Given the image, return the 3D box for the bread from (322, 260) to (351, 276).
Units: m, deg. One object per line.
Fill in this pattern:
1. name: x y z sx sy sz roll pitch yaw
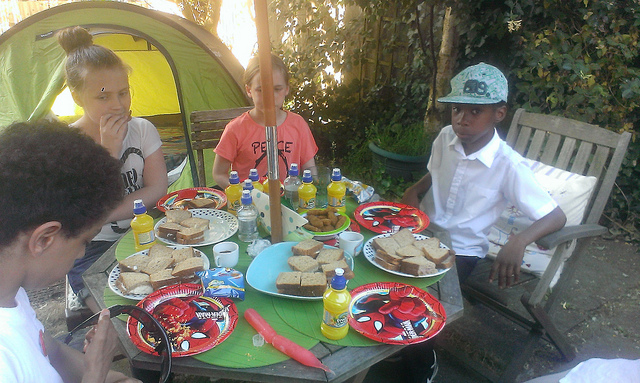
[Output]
1. bread: 0.111 0.533 3.209 0.195 0.075 0.100 -4 19 -20

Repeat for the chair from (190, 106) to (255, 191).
1. chair: -0.952 -0.434 4.480 0.637 0.927 0.660 -11 61 -15

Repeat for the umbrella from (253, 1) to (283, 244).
1. umbrella: -0.354 -0.450 3.255 0.194 1.700 0.291 -4 20 -17

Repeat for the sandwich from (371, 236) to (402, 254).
1. sandwich: 0.495 0.393 3.382 0.136 0.033 0.129 -5 37 -27

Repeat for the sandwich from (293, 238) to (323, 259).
1. sandwich: -0.094 0.406 3.337 0.163 0.074 0.124 -24 34 -38

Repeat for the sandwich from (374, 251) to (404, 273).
1. sandwich: 0.512 0.497 3.287 0.172 0.072 0.125 -1 30 8

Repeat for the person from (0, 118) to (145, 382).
1. person: -1.651 0.365 2.727 0.559 1.498 0.845 9 20 18

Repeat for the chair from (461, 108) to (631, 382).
1. chair: 2.129 0.419 4.316 0.955 2.267 1.997 13 21 29

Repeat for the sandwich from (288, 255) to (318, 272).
1. sandwich: -0.115 0.506 3.238 0.129 0.032 0.129 5 24 4

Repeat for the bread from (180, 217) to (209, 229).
1. bread: -0.974 0.239 3.528 0.116 0.031 0.112 11 24 18

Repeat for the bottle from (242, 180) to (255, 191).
1. bottle: -0.546 -0.048 3.493 0.077 0.137 0.080 1 23 0

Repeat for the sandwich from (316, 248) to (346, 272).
1. sandwich: 0.077 0.491 3.294 0.155 0.045 0.164 7 34 14

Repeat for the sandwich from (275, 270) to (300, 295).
1. sandwich: -0.220 0.623 3.156 0.162 0.122 0.155 1 18 -6

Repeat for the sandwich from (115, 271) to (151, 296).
1. sandwich: -1.276 0.625 3.137 0.174 0.062 0.177 26 39 11

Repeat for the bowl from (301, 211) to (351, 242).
1. bowl: 0.076 0.290 3.437 0.251 0.061 0.253 -2 24 1

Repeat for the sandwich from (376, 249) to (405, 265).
1. sandwich: 0.512 0.461 3.313 0.111 0.036 0.113 23 11 33

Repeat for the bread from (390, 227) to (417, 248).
1. bread: 0.647 0.344 3.479 0.123 0.034 0.125 -24 56 -24

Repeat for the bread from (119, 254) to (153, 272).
1. bread: -1.312 0.506 3.235 0.135 0.036 0.137 25 28 35

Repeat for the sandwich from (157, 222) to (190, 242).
1. sandwich: -1.137 0.305 3.491 0.192 0.046 0.121 18 43 16

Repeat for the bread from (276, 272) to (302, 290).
1. bread: -0.215 0.610 3.129 0.118 0.035 0.123 4 32 3

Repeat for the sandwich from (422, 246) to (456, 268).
1. sandwich: 0.882 0.479 3.324 0.156 0.040 0.153 -1 28 -20

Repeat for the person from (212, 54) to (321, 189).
1. person: -0.495 -0.471 4.433 1.104 1.611 0.917 -2 19 -12

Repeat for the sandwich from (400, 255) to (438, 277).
1. sandwich: 0.702 0.539 3.264 0.163 0.055 0.166 2 4 43

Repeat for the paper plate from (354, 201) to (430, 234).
1. paper plate: 0.598 0.214 3.750 0.371 0.052 0.363 8 29 4

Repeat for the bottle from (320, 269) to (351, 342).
1. bottle: 0.107 0.723 2.924 0.193 0.477 0.125 2 19 0

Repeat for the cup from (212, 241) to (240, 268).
1. cup: -0.700 0.492 3.316 0.167 0.161 0.214 12 17 30

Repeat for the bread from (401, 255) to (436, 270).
1. bread: 0.701 0.506 3.257 0.127 0.030 0.125 11 17 30

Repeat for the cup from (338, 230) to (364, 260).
1. cup: 0.227 0.391 3.411 0.161 0.159 0.205 0 29 -7

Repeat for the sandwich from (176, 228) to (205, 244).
1. sandwich: -0.977 0.297 3.426 0.113 0.074 0.157 15 20 36

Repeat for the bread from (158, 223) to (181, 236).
1. bread: -1.141 0.284 3.507 0.177 0.073 0.092 7 18 14
